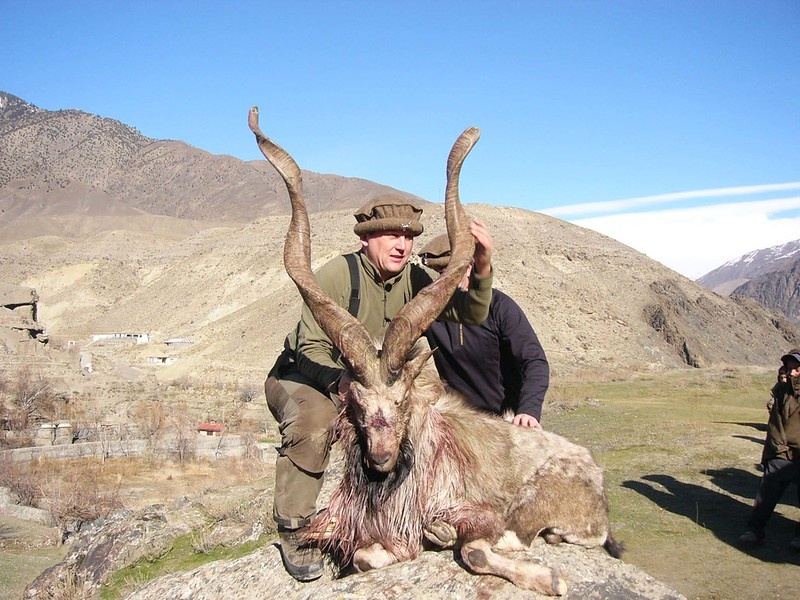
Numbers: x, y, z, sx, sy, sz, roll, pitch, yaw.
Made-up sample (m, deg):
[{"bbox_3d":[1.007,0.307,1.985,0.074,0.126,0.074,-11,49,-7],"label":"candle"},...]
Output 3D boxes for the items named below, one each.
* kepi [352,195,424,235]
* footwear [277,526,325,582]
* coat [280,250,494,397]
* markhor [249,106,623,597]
[{"bbox_3d":[-0.173,-1.056,8.635,0.587,0.336,0.603,-6,-7,44],"label":"kepi"},{"bbox_3d":[-1.270,3.057,8.539,0.441,0.529,1.245,-7,15,-16],"label":"footwear"},{"bbox_3d":[-0.351,0.103,8.495,2.683,1.882,1.698,-6,22,-27],"label":"coat"},{"bbox_3d":[0.305,0.500,7.886,3.244,4.569,1.142,-9,-4,-12],"label":"markhor"}]
